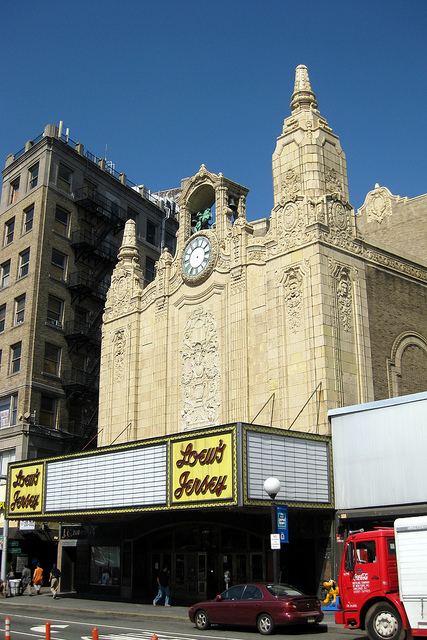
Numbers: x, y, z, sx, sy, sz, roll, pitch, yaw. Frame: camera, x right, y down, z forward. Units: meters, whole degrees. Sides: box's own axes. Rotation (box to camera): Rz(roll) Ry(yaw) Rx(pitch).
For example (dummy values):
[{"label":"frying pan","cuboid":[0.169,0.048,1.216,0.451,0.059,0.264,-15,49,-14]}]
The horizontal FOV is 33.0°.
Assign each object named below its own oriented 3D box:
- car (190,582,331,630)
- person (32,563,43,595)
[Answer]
[{"label":"car","cuboid":[1.232,7.712,19.419,1.343,1.197,3.711,13,-24,-36]},{"label":"person","cuboid":[-9.362,13.843,38.485,0.356,1.454,1.687,4,-20,-13]}]
